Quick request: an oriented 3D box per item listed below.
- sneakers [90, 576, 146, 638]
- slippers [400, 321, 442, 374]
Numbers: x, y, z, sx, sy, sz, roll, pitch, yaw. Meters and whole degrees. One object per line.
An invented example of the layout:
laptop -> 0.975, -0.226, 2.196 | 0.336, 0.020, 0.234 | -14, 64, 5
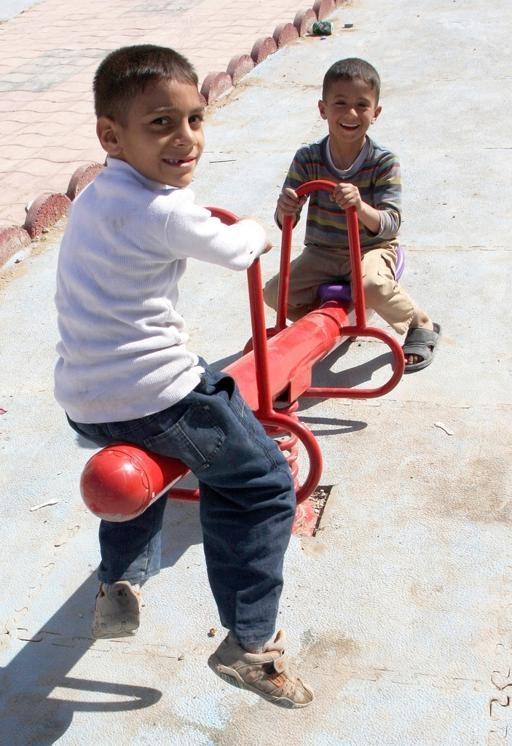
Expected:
sneakers -> -0.273, 0.478, 1.569 | 0.084, 0.088, 0.143 | 2, 13, -3
slippers -> 0.544, -0.077, 2.542 | 0.090, 0.061, 0.220 | 1, 22, 24
